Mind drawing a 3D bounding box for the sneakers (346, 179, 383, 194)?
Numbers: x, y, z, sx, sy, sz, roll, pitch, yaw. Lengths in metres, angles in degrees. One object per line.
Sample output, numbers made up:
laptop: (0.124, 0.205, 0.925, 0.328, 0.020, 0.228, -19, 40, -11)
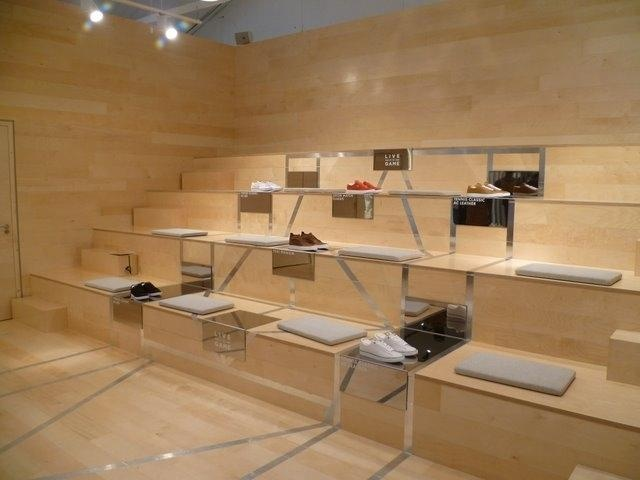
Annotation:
sneakers: (0.393, -0.468, 3.939, 0.283, 0.073, 0.177, 1, 1, -2)

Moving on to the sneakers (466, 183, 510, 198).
sneakers: (1.240, -0.357, 3.329, 0.229, 0.054, 0.145, -1, 3, 8)

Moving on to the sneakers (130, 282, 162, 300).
sneakers: (-1.528, 0.440, 3.984, 0.227, 0.064, 0.170, 2, 3, 44)

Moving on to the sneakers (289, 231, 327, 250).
sneakers: (-0.100, 0.000, 3.757, 0.275, 0.074, 0.172, 6, 5, 30)

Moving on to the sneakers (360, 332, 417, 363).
sneakers: (0.408, 0.653, 2.798, 0.322, 0.115, 0.212, 8, 14, 38)
